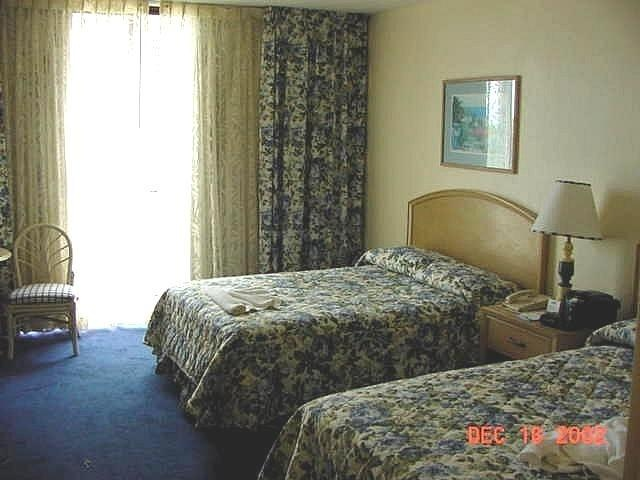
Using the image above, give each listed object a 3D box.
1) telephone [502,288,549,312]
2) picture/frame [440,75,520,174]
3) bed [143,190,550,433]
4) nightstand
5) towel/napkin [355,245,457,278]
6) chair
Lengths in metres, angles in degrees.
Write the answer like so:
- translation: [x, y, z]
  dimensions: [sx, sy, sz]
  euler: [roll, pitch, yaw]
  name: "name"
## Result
- translation: [1.562, 0.465, 3.928]
  dimensions: [0.243, 0.077, 0.181]
  euler: [-5, 11, -24]
  name: "telephone"
- translation: [1.448, -1.026, 4.660]
  dimensions: [0.069, 0.802, 0.906]
  euler: [-5, 10, -31]
  name: "picture/frame"
- translation: [0.287, 0.506, 4.188]
  dimensions: [2.771, 1.369, 1.801]
  euler: [-8, 14, -29]
  name: "bed"
- translation: [1.506, 0.550, 3.706]
  dimensions: [0.400, 0.517, 0.544]
  euler: [-4, 12, -23]
  name: "nightstand"
- translation: [0.749, 0.170, 4.777]
  dimensions: [0.354, 0.148, 0.519]
  euler: [-11, 18, -34]
  name: "towel/napkin"
- translation: [-2.624, 0.434, 4.933]
  dimensions: [0.592, 1.093, 0.943]
  euler: [-4, 13, -26]
  name: "chair"
